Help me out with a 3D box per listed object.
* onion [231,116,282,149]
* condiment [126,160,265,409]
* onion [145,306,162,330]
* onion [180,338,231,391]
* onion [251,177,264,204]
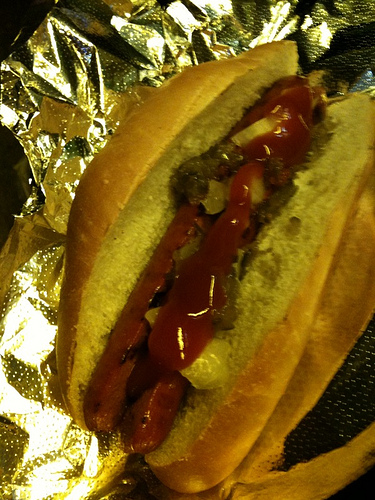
[{"bbox_3d":[0.244,-0.471,2.263,0.168,0.195,0.112,-10,107,-6],"label":"onion"},{"bbox_3d":[0.087,0.132,2.217,0.298,0.214,1.041,8,73,44],"label":"condiment"},{"bbox_3d":[-0.132,0.244,2.105,0.058,0.019,0.070,4,80,8],"label":"onion"},{"bbox_3d":[0.084,0.419,2.090,0.191,0.232,0.172,-2,104,-3],"label":"onion"},{"bbox_3d":[0.265,-0.228,2.192,0.057,0.030,0.089,-1,103,-12],"label":"onion"}]
